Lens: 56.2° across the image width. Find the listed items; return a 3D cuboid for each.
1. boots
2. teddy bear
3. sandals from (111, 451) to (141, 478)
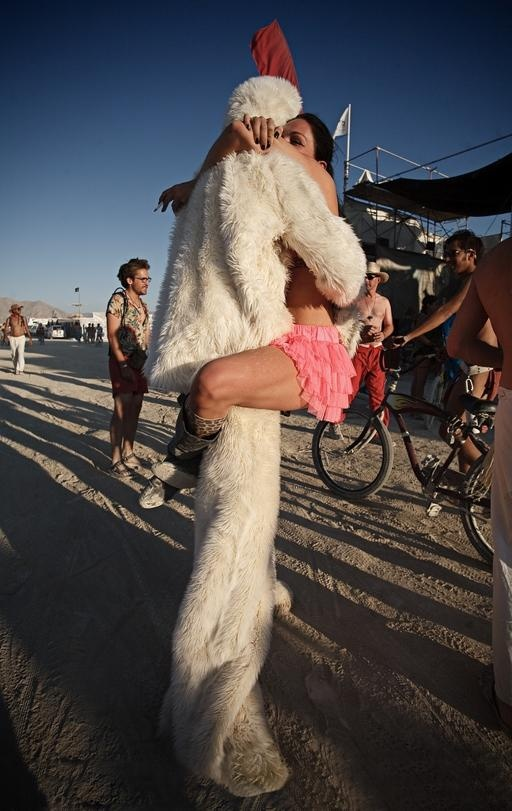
[{"bbox_3d":[-0.222,0.147,1.417,0.132,0.321,0.110,21,23,4],"label":"boots"},{"bbox_3d":[0.000,0.010,1.361,0.552,1.932,0.524,-2,9,-25],"label":"teddy bear"},{"bbox_3d":[-1.122,0.511,4.089,0.218,0.105,0.422,1,9,-8],"label":"sandals"}]
